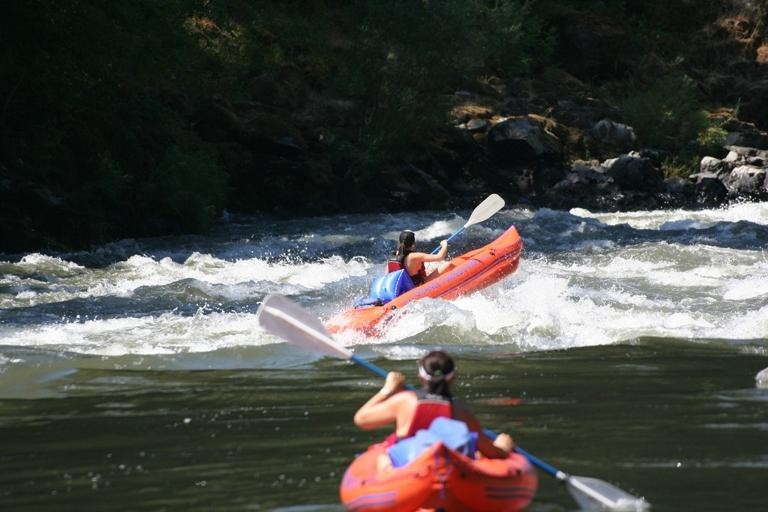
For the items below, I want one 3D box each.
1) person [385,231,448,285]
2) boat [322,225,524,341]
[{"bbox_3d":[0.787,-0.046,23.842,0.758,1.204,1.379,5,22,32],"label":"person"},{"bbox_3d":[1.258,0.625,24.055,5.730,1.135,1.608,-24,7,-23],"label":"boat"}]
